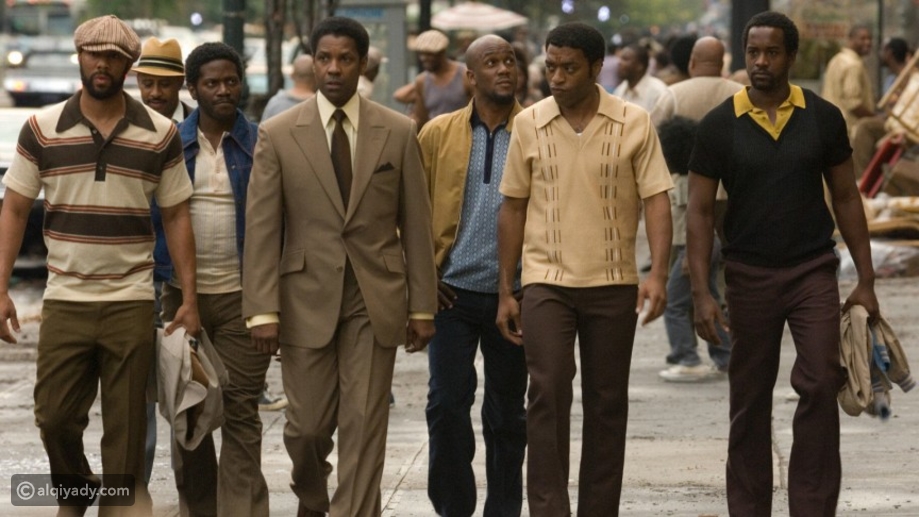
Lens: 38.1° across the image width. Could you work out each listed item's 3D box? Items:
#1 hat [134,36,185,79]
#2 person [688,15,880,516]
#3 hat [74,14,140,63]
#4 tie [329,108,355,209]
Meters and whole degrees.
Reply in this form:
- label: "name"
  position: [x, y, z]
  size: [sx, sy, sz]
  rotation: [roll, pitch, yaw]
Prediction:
- label: "hat"
  position: [-2.138, -1.458, 9.605]
  size: [0.442, 0.248, 0.517]
  rotation: [2, 8, -13]
- label: "person"
  position: [1.940, 0.036, 8.123]
  size: [1.085, 3.049, 0.514]
  rotation: [1, 5, 11]
- label: "hat"
  position: [-2.094, -1.233, 7.904]
  size: [0.277, 0.153, 0.387]
  rotation: [5, 7, -7]
- label: "tie"
  position: [-0.691, -0.619, 8.028]
  size: [0.087, 0.635, 0.099]
  rotation: [-2, -11, -5]
